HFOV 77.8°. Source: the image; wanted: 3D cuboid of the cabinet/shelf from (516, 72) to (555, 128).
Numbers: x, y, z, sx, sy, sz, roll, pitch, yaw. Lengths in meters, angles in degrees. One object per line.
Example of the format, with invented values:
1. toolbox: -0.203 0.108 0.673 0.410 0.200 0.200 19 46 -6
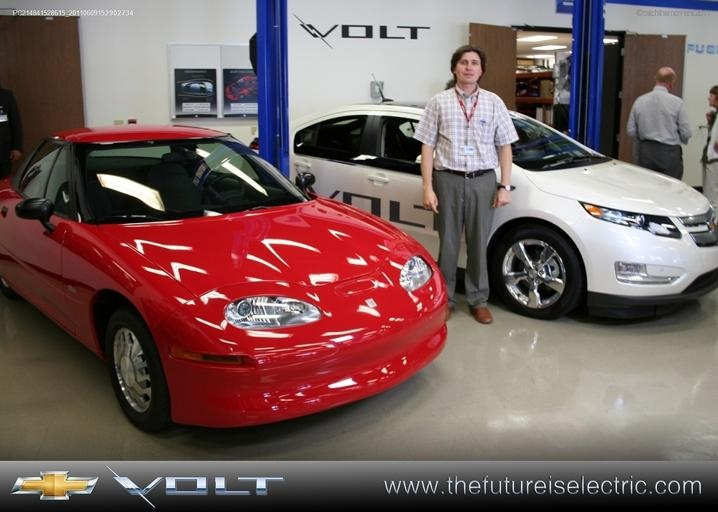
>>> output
1. cabinet/shelf: 3.552 -3.112 8.777 0.363 0.947 1.089 -16 23 -12

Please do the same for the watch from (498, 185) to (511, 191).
1. watch: 1.100 -0.535 3.401 0.070 0.041 0.073 -5 20 -14

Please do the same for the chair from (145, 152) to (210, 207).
1. chair: -1.117 -0.464 2.741 0.235 0.449 0.129 -9 -7 -28
